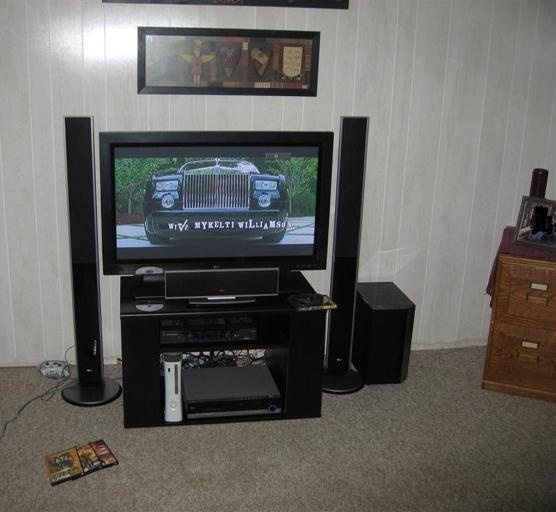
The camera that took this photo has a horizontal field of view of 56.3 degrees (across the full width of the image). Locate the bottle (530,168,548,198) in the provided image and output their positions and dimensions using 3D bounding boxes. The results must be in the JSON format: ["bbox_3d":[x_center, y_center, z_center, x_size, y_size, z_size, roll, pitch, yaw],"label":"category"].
[{"bbox_3d":[1.487,-0.421,2.980,0.080,0.162,0.197,7,17,26],"label":"bottle"}]

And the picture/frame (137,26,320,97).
[{"bbox_3d":[-0.263,-1.050,2.815,0.951,0.417,0.026,-3,52,-8],"label":"picture/frame"}]
